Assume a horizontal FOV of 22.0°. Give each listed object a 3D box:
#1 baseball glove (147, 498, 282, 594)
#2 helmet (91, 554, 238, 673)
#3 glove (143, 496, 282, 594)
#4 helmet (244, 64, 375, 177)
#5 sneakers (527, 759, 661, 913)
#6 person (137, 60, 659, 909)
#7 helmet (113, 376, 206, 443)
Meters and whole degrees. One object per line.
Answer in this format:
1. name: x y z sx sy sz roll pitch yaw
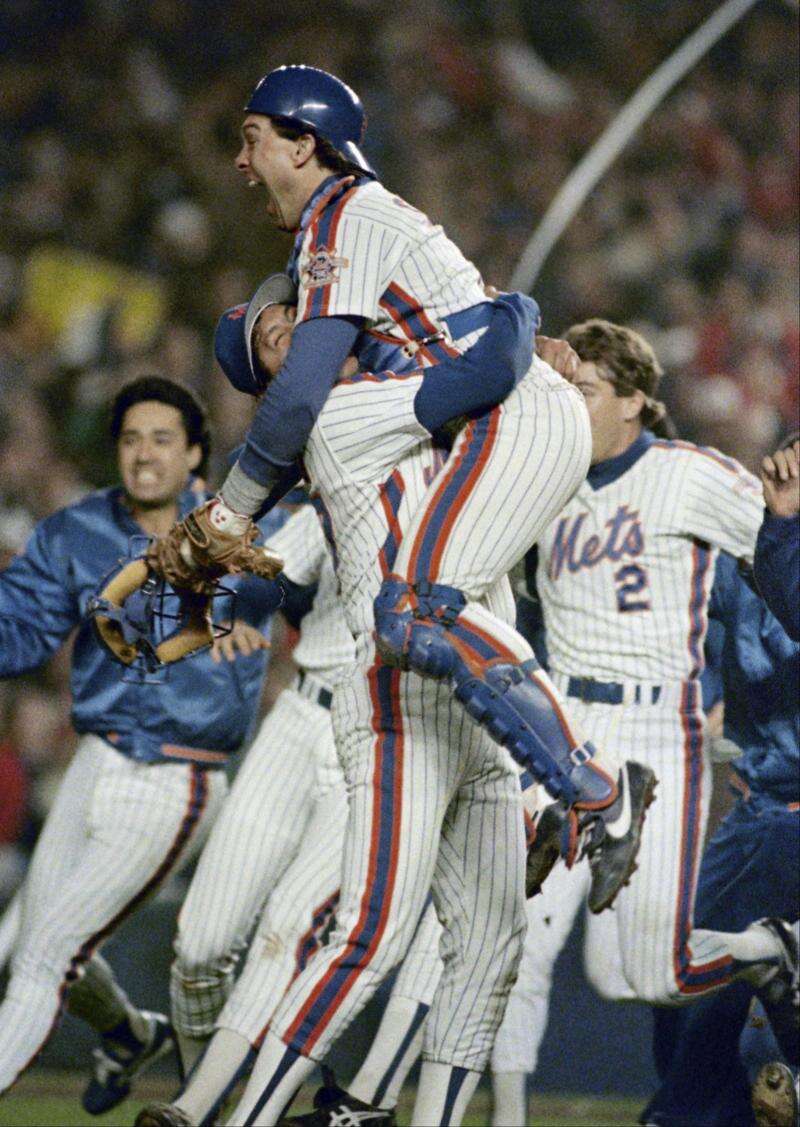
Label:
1. baseball glove: -0.375 -0.024 4.092 0.255 0.141 0.340 -7 -7 1
2. helmet: -0.511 0.104 4.239 0.320 0.210 0.133 -15 9 -7
3. glove: -0.398 -0.036 4.044 0.255 0.146 0.123 -23 -23 38
4. helmet: -0.152 -0.883 4.114 0.277 0.161 0.195 17 2 -7
5. sneakers: 0.337 0.538 3.915 0.197 0.142 0.405 23 42 7
6. person: 0.053 -0.148 3.948 1.043 1.570 0.485 14 15 33
7. helmet: -0.577 -0.382 5.088 0.177 0.183 0.081 -7 8 7
